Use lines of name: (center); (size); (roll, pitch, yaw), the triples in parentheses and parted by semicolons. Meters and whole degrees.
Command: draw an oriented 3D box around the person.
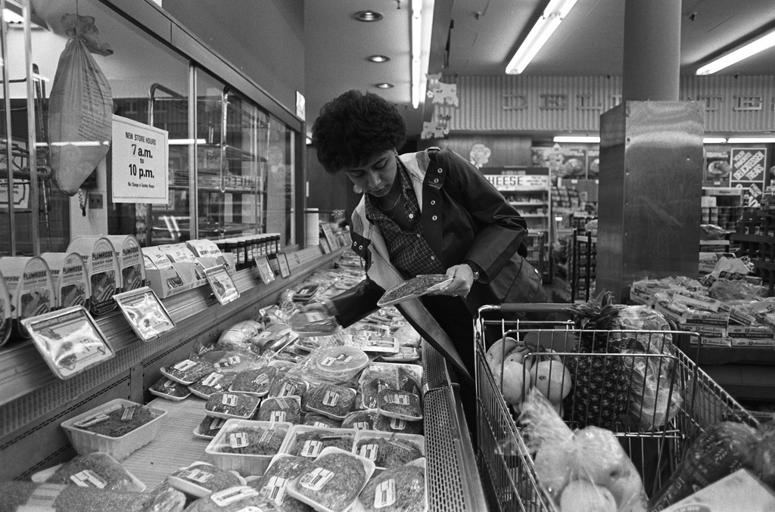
person: (0.201, -0.033, 2.174); (1.005, 1.389, 0.602); (-6, 9, -10)

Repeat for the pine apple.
pine apple: (0.707, 0.342, 1.670); (0.179, 0.458, 0.182); (-1, -4, 8)
